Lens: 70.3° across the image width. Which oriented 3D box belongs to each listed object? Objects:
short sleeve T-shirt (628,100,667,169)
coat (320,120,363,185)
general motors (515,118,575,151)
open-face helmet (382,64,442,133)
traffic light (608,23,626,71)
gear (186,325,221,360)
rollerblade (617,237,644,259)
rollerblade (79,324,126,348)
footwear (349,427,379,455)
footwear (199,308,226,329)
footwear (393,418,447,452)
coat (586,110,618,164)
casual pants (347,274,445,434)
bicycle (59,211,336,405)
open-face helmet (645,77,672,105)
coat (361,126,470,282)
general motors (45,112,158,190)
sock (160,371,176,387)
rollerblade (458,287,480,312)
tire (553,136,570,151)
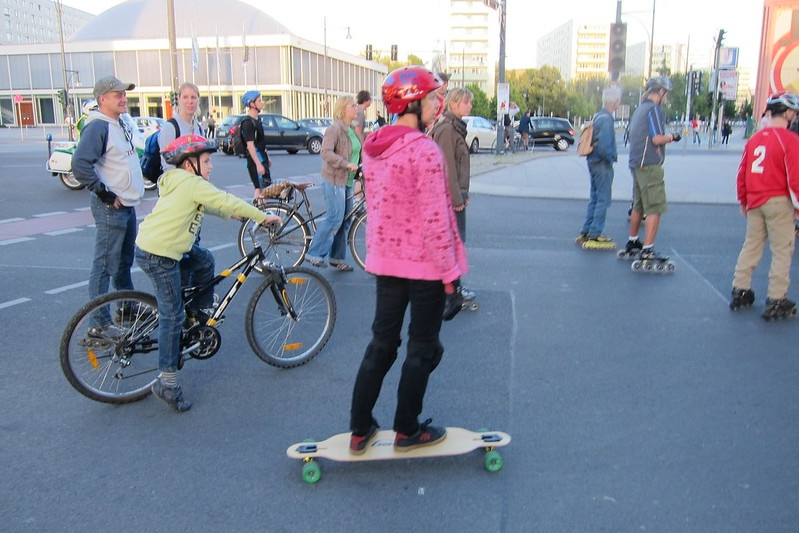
[{"bbox_3d":[3.731,-2.033,8.557,0.451,1.025,0.867,-8,10,-2],"label":"short sleeve T-shirt"},{"bbox_3d":[-0.924,-1.694,8.315,0.625,1.167,0.935,2,15,3],"label":"coat"},{"bbox_3d":[9.527,-8.291,35.265,2.708,1.483,1.808,4,13,0],"label":"general motors"},{"bbox_3d":[0.094,-1.194,4.017,0.433,0.500,0.382,-8,25,2],"label":"open-face helmet"},{"bbox_3d":[7.764,-7.894,20.033,0.592,0.933,1.858,7,61,11],"label":"traffic light"},{"bbox_3d":[-1.729,0.672,5.109,0.261,0.306,0.273,22,10,42],"label":"gear"},{"bbox_3d":[3.688,-0.255,8.797,0.519,0.273,0.189,-14,36,-8],"label":"rollerblade"},{"bbox_3d":[-2.515,0.597,4.820,0.362,0.188,0.146,-12,41,-19],"label":"rollerblade"},{"bbox_3d":[-0.257,1.253,4.171,0.084,0.122,0.265,6,24,26],"label":"footwear"},{"bbox_3d":[-1.724,0.473,5.127,0.185,0.077,0.115,8,16,44],"label":"footwear"},{"bbox_3d":[0.160,1.256,4.222,0.404,0.216,0.173,-9,17,-18],"label":"footwear"},{"bbox_3d":[3.350,-2.082,9.395,0.426,0.900,0.782,-1,10,4],"label":"coat"},{"bbox_3d":[-0.005,0.587,4.231,0.568,0.506,1.772,-1,48,4],"label":"casual pants"},{"bbox_3d":[-1.671,0.324,5.110,2.470,1.705,1.038,-7,27,-33],"label":"bicycle"},{"bbox_3d":[3.887,-2.657,8.482,0.387,0.437,0.318,-12,28,-23],"label":"open-face helmet"},{"bbox_3d":[0.050,-0.436,4.101,0.901,1.089,0.658,6,5,43],"label":"coat"},{"bbox_3d":[-8.454,-3.034,15.508,2.758,2.098,1.363,6,16,19],"label":"general motors"},{"bbox_3d":[-1.933,0.924,4.727,0.104,0.127,0.122,3,1,3],"label":"sock"},{"bbox_3d":[0.838,0.396,6.715,0.206,0.173,0.352,0,1,-1],"label":"rollerblade"},{"bbox_3d":[9.930,-7.542,34.699,0.807,0.921,0.307,15,13,-23],"label":"tire"}]
